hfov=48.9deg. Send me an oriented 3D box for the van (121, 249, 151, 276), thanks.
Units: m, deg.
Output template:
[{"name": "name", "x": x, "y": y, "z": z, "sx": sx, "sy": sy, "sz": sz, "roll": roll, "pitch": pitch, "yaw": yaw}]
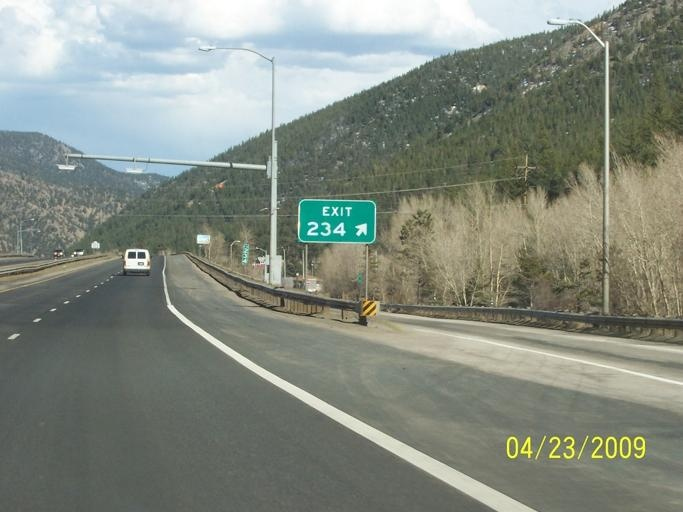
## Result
[{"name": "van", "x": -15.829, "y": 0.519, "z": 58.301, "sx": 1.950, "sy": 2.102, "sz": 1.974, "roll": -1, "pitch": 3, "yaw": -20}]
